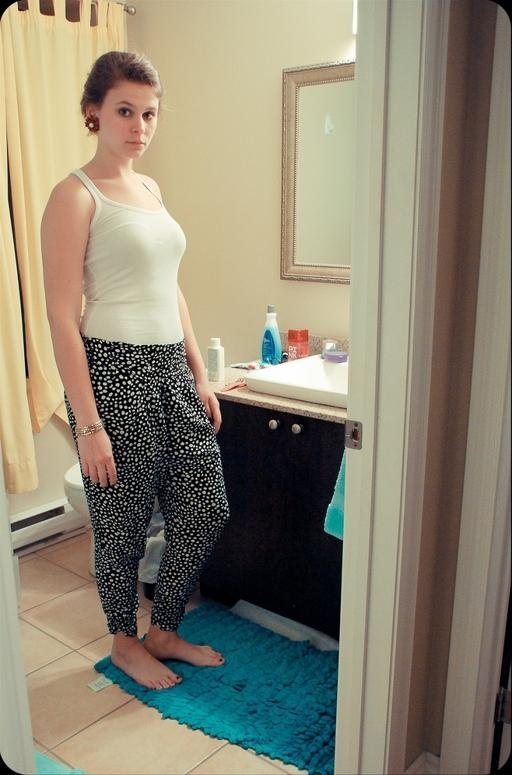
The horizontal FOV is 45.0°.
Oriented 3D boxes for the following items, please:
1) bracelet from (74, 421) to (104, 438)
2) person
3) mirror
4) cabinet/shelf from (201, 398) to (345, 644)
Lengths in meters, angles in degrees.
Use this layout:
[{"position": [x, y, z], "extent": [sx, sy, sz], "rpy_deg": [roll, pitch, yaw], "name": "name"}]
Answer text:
[{"position": [-0.366, 0.093, 1.351], "extent": [0.060, 0.034, 0.038], "rpy_deg": [-2, 10, -8], "name": "bracelet"}, {"position": [-0.282, 0.022, 1.525], "extent": [0.227, 1.524, 0.492], "rpy_deg": [8, 12, 42], "name": "person"}, {"position": [0.246, -0.677, 1.987], "extent": [0.365, 0.670, 0.020], "rpy_deg": [8, 14, 30], "name": "mirror"}, {"position": [0.135, 0.339, 1.933], "extent": [0.512, 0.650, 0.426], "rpy_deg": [5, 16, 6], "name": "cabinet/shelf"}]
